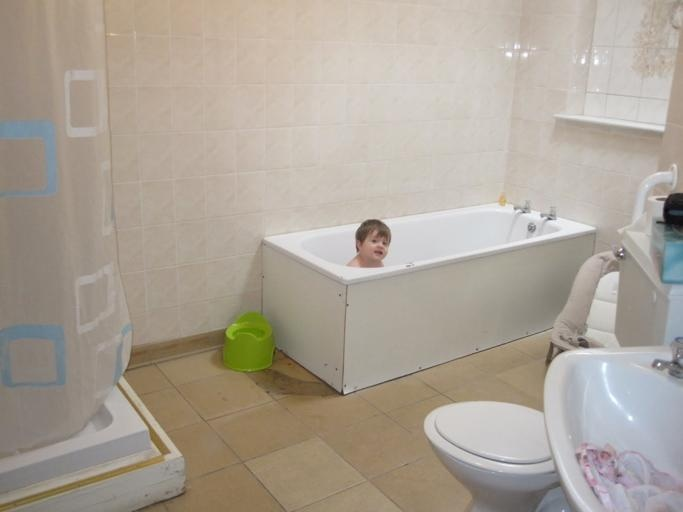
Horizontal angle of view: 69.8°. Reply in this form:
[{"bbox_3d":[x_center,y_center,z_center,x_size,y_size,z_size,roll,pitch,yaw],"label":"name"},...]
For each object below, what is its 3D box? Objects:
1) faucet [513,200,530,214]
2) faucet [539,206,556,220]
[{"bbox_3d":[1.382,-0.378,3.710,0.130,0.099,0.081,-7,20,-14],"label":"faucet"},{"bbox_3d":[1.491,-0.315,3.582,0.173,0.114,0.067,-14,20,-38],"label":"faucet"}]
